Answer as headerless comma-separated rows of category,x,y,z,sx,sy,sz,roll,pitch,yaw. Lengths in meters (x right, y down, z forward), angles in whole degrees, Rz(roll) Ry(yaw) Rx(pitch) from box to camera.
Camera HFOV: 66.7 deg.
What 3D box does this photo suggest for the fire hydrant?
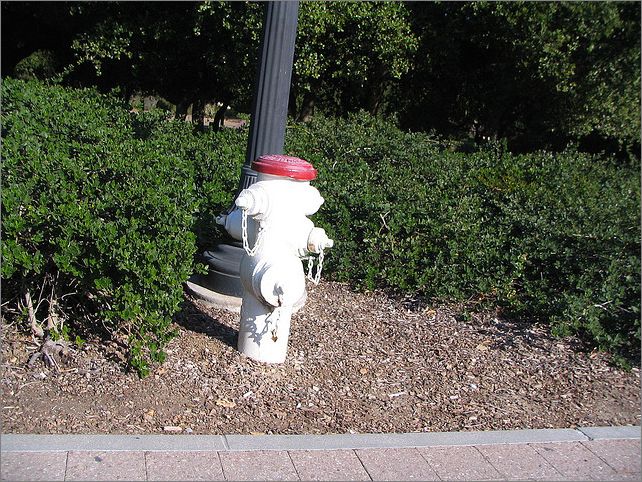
fire hydrant,-0.412,0.187,4.310,0.887,1.771,0.679,8,19,-11
